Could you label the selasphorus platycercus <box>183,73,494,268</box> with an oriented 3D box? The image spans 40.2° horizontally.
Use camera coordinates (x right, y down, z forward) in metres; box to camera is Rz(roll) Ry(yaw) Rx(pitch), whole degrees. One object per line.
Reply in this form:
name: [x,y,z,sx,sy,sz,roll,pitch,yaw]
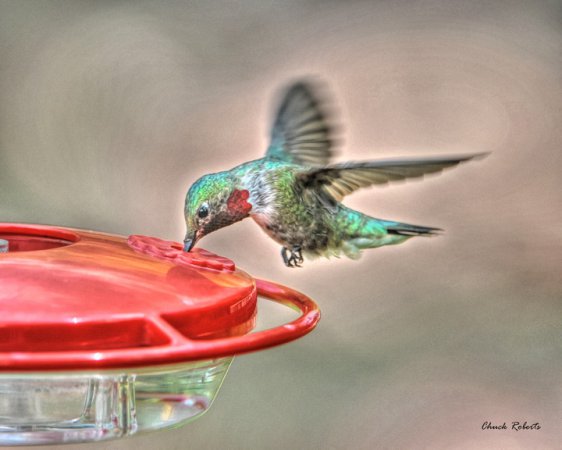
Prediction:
selasphorus platycercus: [0.059,-0.057,1.437,0.453,0.232,0.512,-1,4,-3]
